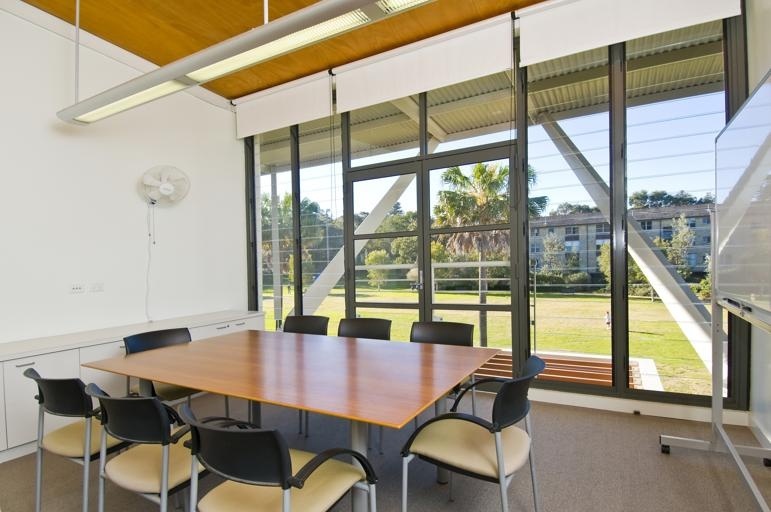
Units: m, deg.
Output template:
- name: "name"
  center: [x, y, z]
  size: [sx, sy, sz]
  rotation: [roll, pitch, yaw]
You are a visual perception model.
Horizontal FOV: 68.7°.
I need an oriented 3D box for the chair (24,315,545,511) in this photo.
- name: "chair"
  center: [-0.670, 1.257, 5.302]
  size: [3.234, 0.766, 1.513]
  rotation: [-1, 1, 18]
